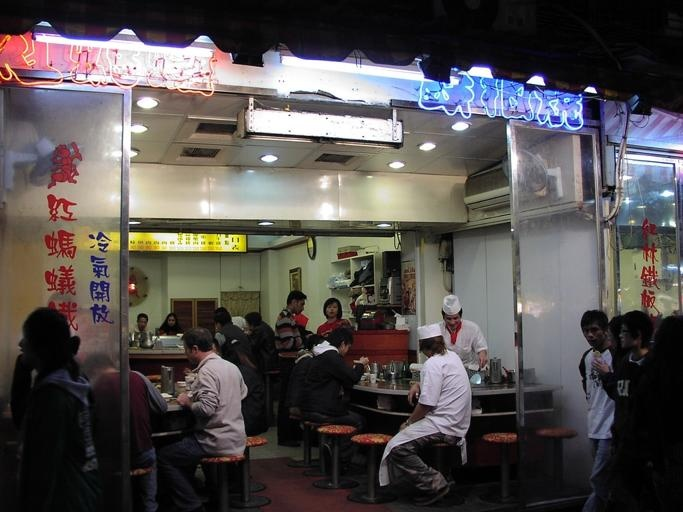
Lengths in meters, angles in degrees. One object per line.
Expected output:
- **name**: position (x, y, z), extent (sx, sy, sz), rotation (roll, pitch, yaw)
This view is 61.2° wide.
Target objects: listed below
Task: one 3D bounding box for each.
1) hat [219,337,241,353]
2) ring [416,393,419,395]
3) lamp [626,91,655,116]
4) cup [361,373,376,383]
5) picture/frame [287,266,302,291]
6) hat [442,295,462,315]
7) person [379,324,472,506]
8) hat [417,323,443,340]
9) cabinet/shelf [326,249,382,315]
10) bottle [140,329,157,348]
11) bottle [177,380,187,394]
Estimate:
- **hat**: position (-1.253, 0.980, 6.564), extent (0.251, 0.143, 0.261), rotation (10, 5, 3)
- **ring**: position (0.748, 1.361, 5.678), extent (0.026, 0.026, 0.026), rotation (-2, 4, 0)
- **lamp**: position (2.895, -1.462, 5.618), extent (0.228, 0.179, 0.251), rotation (-2, -5, 27)
- **cup**: position (0.312, 1.342, 6.309), extent (0.142, 0.094, 0.076), rotation (1, -7, -9)
- **picture/frame**: position (-0.967, 0.473, 12.182), extent (0.041, 0.562, 0.554), rotation (-1, 1, -29)
- **hat**: position (1.198, 0.530, 6.265), extent (0.181, 0.142, 0.234), rotation (0, -4, 1)
- **person**: position (0.796, 1.479, 5.478), extent (0.833, 1.648, 0.627), rotation (-1, -4, 6)
- **hat**: position (0.811, 0.758, 5.544), extent (0.170, 0.113, 0.209), rotation (-7, -14, -27)
- **cabinet/shelf**: position (0.241, 0.459, 9.792), extent (0.269, 0.930, 1.016), rotation (8, -16, -21)
- **bottle**: position (-2.750, 1.182, 8.235), extent (0.252, 0.326, 0.338), rotation (6, -6, -27)
- **bottle**: position (-1.523, 1.254, 5.500), extent (0.101, 0.094, 0.103), rotation (1, -1, 31)
